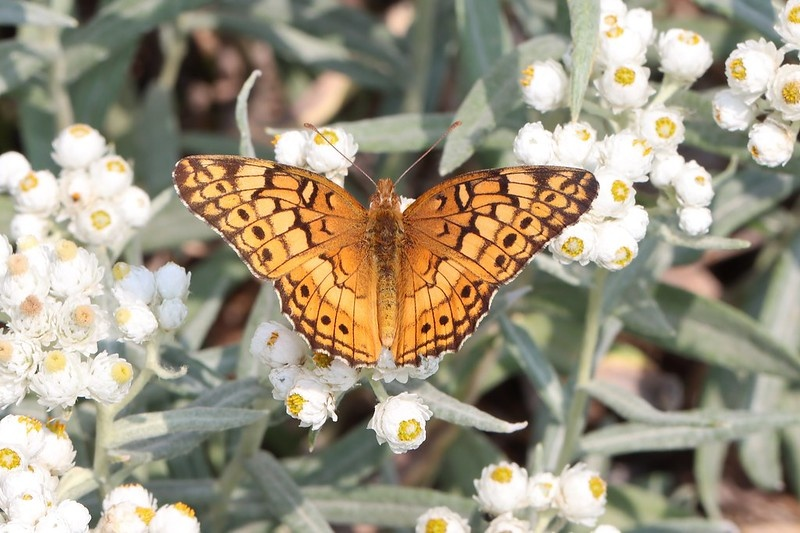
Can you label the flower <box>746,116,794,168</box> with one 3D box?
[{"bbox_3d":[1.279,-0.420,2.983,0.127,0.085,0.178,8,83,4],"label":"flower"}]
